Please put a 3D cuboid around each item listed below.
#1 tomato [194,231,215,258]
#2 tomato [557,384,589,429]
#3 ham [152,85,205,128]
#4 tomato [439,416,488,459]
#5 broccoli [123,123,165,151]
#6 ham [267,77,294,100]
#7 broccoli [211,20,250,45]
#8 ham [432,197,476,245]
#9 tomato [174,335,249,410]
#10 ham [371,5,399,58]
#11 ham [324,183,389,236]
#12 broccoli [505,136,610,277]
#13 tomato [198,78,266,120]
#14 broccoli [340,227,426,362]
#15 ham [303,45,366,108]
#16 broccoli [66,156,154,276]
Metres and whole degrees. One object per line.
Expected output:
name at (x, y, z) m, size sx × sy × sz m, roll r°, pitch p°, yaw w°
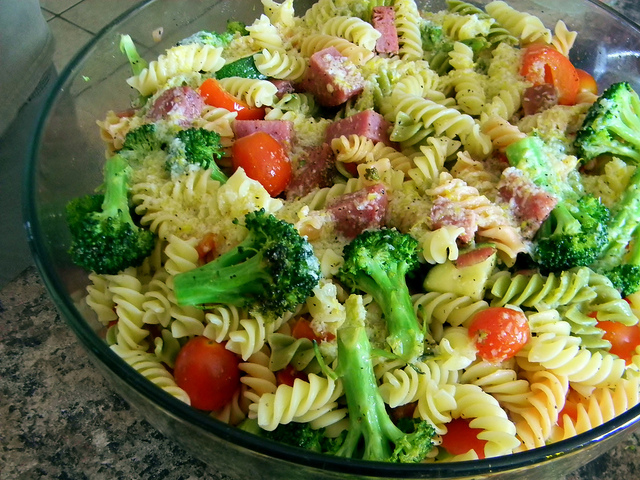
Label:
tomato at (-0.420, 0.021, 2.164) m, size 0.055 × 0.023 × 0.085 m, roll 31°, pitch 91°, yaw 0°
tomato at (0.873, 0.573, 2.083) m, size 0.119 × 0.038 × 0.123 m, roll -14°, pitch 58°, yaw -20°
ham at (-0.507, -0.612, 2.468) m, size 0.169 × 0.166 × 0.059 m, roll -18°, pitch 97°, yaw 0°
tomato at (0.480, 0.654, 1.988) m, size 0.144 × 0.076 × 0.123 m, roll 6°, pitch 74°, yaw 0°
broccoli at (-0.692, -0.390, 2.324) m, size 0.115 × 0.050 × 0.112 m, roll -35°, pitch 82°, yaw -7°
ham at (-0.169, -0.684, 2.670) m, size 0.098 × 0.034 × 0.102 m, roll 24°, pitch 62°, yaw 5°
broccoli at (-0.415, -0.987, 2.819) m, size 0.161 × 0.050 × 0.163 m, roll -37°, pitch 41°, yaw -16°
ham at (0.497, -0.078, 2.199) m, size 0.175 × 0.062 × 0.113 m, roll 26°, pitch 75°, yaw 5°
tomato at (-0.397, 0.454, 2.160) m, size 0.224 × 0.242 × 0.247 m, roll -3°, pitch 93°, yaw -32°
ham at (0.305, -0.966, 2.753) m, size 0.122 × 0.092 × 0.228 m, roll -3°, pitch 74°, yaw -2°
ham at (0.145, -0.142, 2.292) m, size 0.281 × 0.161 × 0.175 m, roll 17°, pitch 111°, yaw 39°
broccoli at (0.932, -0.148, 2.253) m, size 0.347 × 0.139 × 0.544 m, roll -7°, pitch 74°, yaw -4°
tomato at (-0.379, -0.585, 2.559) m, size 0.290 × 0.107 × 0.115 m, roll 20°, pitch 74°, yaw 4°
broccoli at (0.253, 0.210, 2.081) m, size 0.318 × 0.265 × 0.551 m, roll -8°, pitch 38°, yaw -6°
ham at (0.067, -0.698, 2.597) m, size 0.249 × 0.138 × 0.185 m, roll 42°, pitch 77°, yaw 10°
broccoli at (-0.791, -0.081, 2.190) m, size 0.280 × 0.201 × 0.417 m, roll -22°, pitch 76°, yaw -8°
